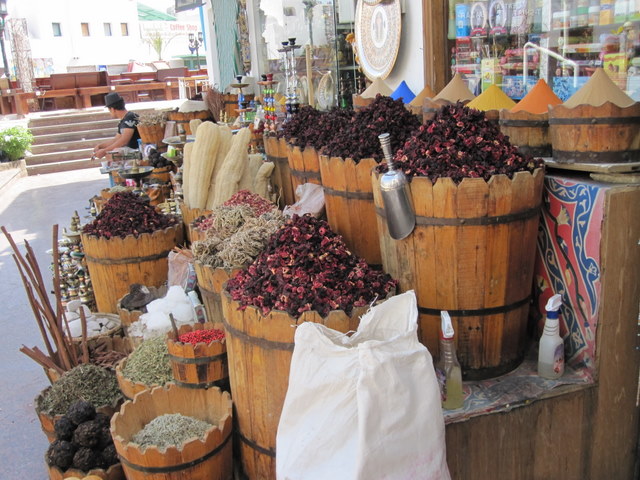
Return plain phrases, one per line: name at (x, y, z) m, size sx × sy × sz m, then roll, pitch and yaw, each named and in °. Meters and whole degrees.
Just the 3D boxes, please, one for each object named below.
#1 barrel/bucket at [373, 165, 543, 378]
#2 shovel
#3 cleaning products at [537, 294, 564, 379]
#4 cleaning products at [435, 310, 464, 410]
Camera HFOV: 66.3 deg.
barrel/bucket at (0.675, 0.114, 2.459) m, size 0.615 × 1.022 × 0.695 m, roll 2°, pitch 19°, yaw 18°
shovel at (0.314, -0.219, 2.130) m, size 0.120 × 0.467 × 0.171 m, roll -14°, pitch 18°, yaw -25°
cleaning products at (1.073, 0.445, 2.302) m, size 0.114 × 0.382 × 0.146 m, roll 3°, pitch 13°, yaw 28°
cleaning products at (0.563, 0.514, 2.160) m, size 0.120 × 0.421 × 0.120 m, roll -14°, pitch 16°, yaw -43°
